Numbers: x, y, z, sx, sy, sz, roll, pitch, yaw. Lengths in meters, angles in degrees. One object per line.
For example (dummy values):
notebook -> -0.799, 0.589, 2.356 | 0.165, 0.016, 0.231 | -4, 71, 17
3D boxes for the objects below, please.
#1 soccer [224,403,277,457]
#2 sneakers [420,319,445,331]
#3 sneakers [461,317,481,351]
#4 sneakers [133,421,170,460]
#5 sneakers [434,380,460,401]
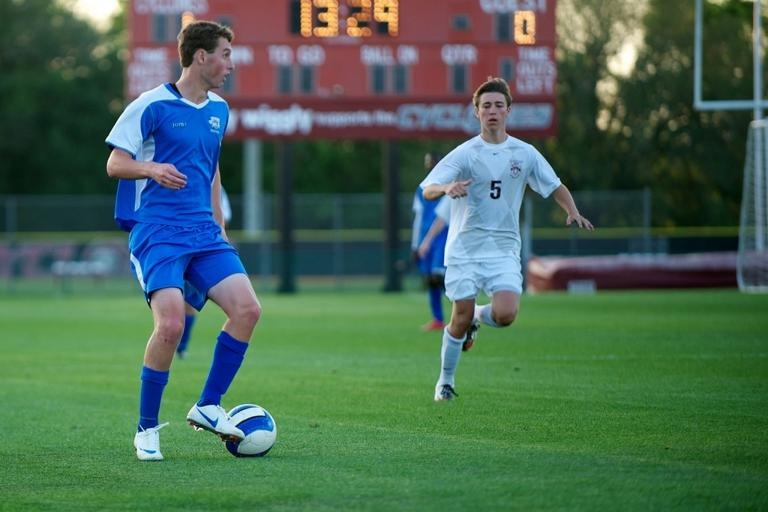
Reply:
soccer -> -1.178, 1.532, 9.890 | 0.427, 0.424, 0.422 | -4, 3, -8
sneakers -> 0.742, 0.974, 15.767 | 0.369, 0.156, 0.130 | 1, 4, 40
sneakers -> 0.918, 0.840, 11.394 | 0.128, 0.377, 0.177 | 21, 14, -1
sneakers -> -2.078, 1.630, 9.892 | 0.254, 0.300, 0.273 | -1, 2, -13
sneakers -> 0.648, 1.355, 11.214 | 0.290, 0.276, 0.156 | 0, -2, -9
